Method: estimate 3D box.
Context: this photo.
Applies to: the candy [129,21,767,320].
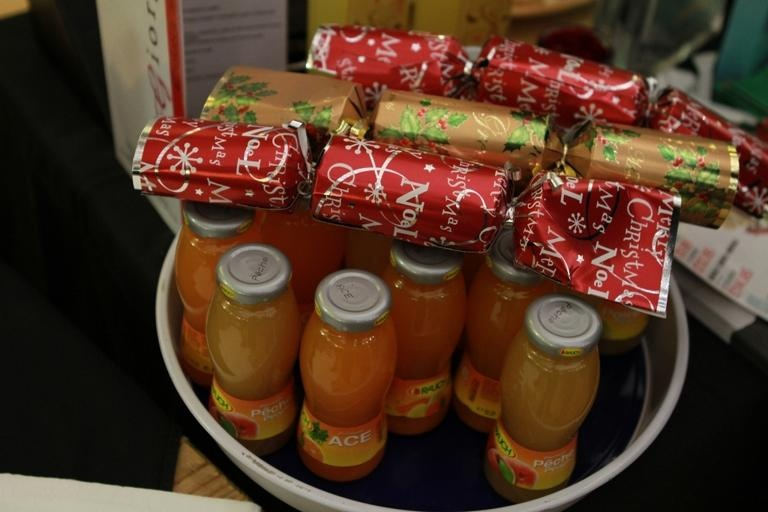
[{"bbox_3d":[0.074,-0.086,0.741,0.577,0.130,0.324,14,41,9],"label":"candy"}]
